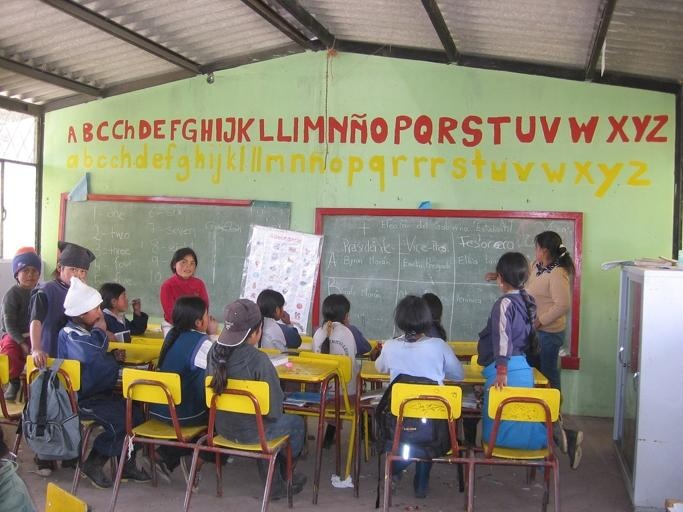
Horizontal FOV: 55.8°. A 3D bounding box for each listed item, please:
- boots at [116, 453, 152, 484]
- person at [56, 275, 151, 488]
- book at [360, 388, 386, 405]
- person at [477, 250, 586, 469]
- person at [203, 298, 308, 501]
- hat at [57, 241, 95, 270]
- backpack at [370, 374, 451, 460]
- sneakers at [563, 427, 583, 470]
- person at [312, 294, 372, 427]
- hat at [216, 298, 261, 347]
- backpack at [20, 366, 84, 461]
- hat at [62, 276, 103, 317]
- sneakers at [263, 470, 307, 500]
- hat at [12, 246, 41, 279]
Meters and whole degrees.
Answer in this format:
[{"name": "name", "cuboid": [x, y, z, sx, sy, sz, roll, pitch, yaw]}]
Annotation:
[{"name": "boots", "cuboid": [-1.396, 1.449, 4.389, 0.250, 0.261, 0.106, 1, 0, -20]}, {"name": "person", "cuboid": [-1.613, 0.873, 4.403, 0.519, 1.353, 0.473, -10, 16, -33]}, {"name": "book", "cuboid": [0.214, 0.961, 4.383, 0.188, 0.062, 0.192, 7, 4, 12]}, {"name": "person", "cuboid": [1.117, 0.704, 4.112, 0.536, 1.410, 0.837, -5, 9, -40]}, {"name": "person", "cuboid": [-0.535, 0.949, 4.157, 0.596, 1.337, 0.770, 2, 4, 27]}, {"name": "hat", "cuboid": [-1.985, -0.004, 4.806, 0.247, 0.148, 0.246, 19, -13, -27]}, {"name": "backpack", "cuboid": [0.490, 1.080, 4.065, 0.466, 0.679, 0.482, 3, 10, 12]}, {"name": "sneakers", "cuboid": [1.483, 1.228, 4.154, 0.118, 0.285, 0.091, 16, 29, 36]}, {"name": "person", "cuboid": [-0.017, 0.830, 4.870, 0.451, 1.093, 0.439, 5, 14, 15]}, {"name": "hat", "cuboid": [-0.630, 0.378, 3.933, 0.241, 0.185, 0.369, -2, 25, 16]}, {"name": "backpack", "cuboid": [-1.844, 0.990, 4.095, 0.367, 0.626, 0.314, 3, 15, 8]}, {"name": "hat", "cuboid": [-1.695, 0.256, 4.303, 0.239, 0.254, 0.217, -7, 17, -12]}, {"name": "sneakers", "cuboid": [-0.370, 1.478, 4.239, 0.105, 0.195, 0.266, 3, 9, 29]}, {"name": "hat", "cuboid": [-2.535, 0.047, 5.150, 0.256, 0.273, 0.207, -3, -5, 28]}]
